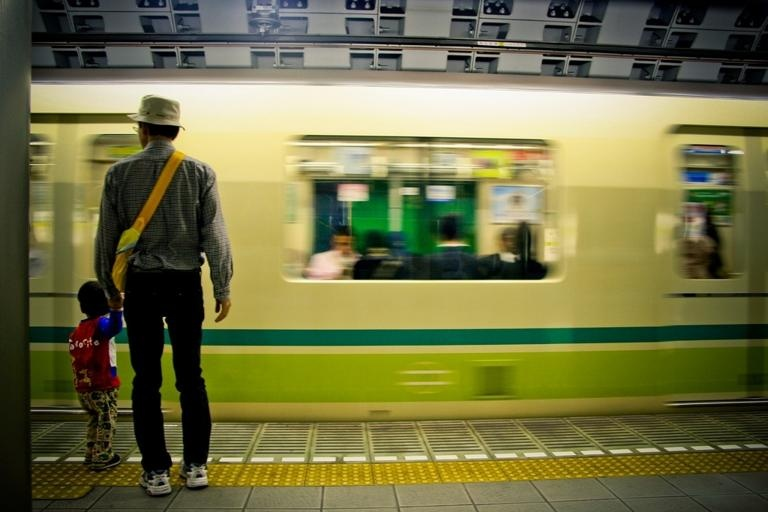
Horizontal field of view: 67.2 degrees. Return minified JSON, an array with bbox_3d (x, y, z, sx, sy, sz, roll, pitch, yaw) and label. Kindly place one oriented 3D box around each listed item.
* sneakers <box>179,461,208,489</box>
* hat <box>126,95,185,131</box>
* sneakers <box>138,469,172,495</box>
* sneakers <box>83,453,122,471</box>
[{"bbox_3d":[-1.639,1.896,4.999,0.148,0.131,0.337,1,5,-13],"label":"sneakers"},{"bbox_3d":[-1.924,-1.203,5.012,0.383,0.150,0.361,11,8,2],"label":"hat"},{"bbox_3d":[-1.922,1.914,4.889,0.156,0.125,0.324,1,3,-25],"label":"sneakers"},{"bbox_3d":[-2.525,1.871,5.239,0.333,0.110,0.117,-3,6,-17],"label":"sneakers"}]
